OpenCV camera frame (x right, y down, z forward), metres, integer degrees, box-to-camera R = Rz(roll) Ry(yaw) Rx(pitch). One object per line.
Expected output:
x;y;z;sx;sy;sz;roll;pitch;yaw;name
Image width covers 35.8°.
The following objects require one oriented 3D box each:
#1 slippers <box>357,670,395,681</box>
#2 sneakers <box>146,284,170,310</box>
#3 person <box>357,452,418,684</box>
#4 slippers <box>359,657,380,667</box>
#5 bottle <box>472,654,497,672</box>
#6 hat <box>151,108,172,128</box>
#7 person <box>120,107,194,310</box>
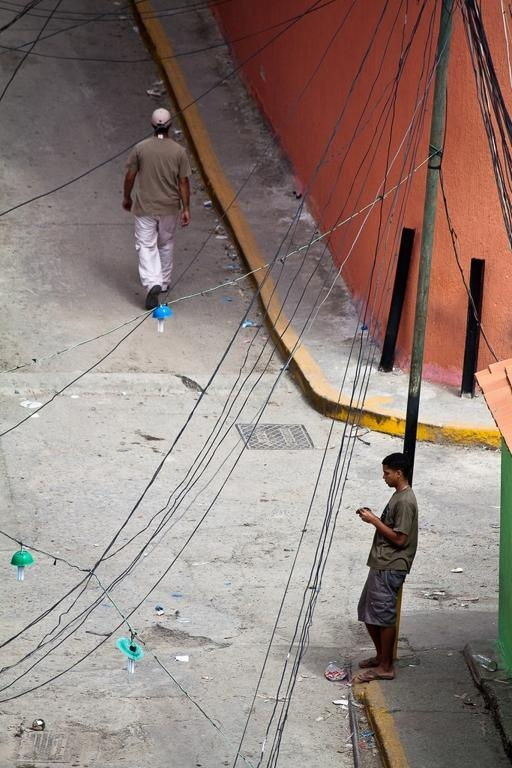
0.560;1.330;3.648;0.135;0.037;0.062;3;3;-5;slippers
-1.054;-0.925;8.397;0.156;0.352;0.158;13;-6;-26;sneakers
0.601;0.836;3.620;0.222;1.060;0.286;17;19;42;person
0.546;1.314;3.776;0.094;0.031;0.042;3;11;3;slippers
1.078;1.289;3.688;0.044;0.054;0.133;18;-3;-39;bottle
-0.968;-2.710;8.091;0.166;0.234;0.549;2;12;-8;hat
-1.052;-1.810;8.319;0.673;2.032;0.700;2;14;-10;person
